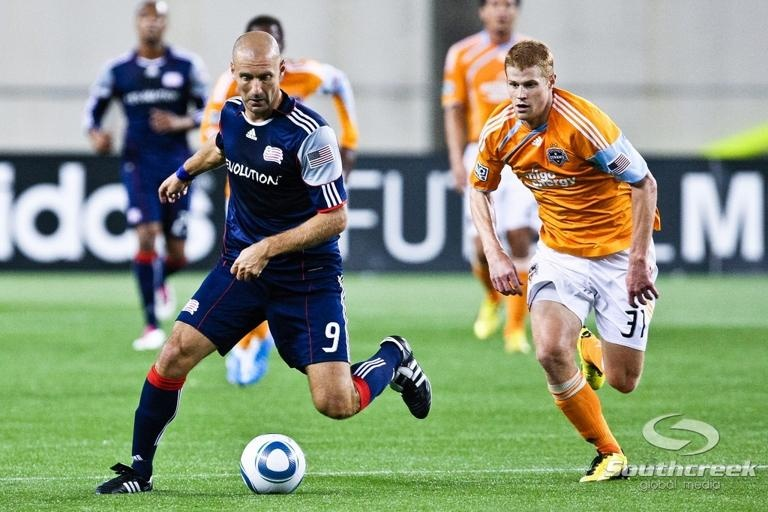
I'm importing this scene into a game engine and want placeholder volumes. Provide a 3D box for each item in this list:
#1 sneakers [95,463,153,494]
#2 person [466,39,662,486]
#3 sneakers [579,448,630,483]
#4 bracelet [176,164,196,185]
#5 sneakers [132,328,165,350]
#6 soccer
[{"bbox_3d":[-1.565,1.351,6.596,0.282,0.130,0.156,6,-3,-11],"label":"sneakers"},{"bbox_3d":[1.160,0.000,6.971,1.145,2.711,0.788,2,6,14],"label":"person"},{"bbox_3d":[1.373,1.318,6.817,0.380,0.174,0.132,-8,-3,-8],"label":"sneakers"},{"bbox_3d":[-1.298,-0.525,7.052,0.109,0.114,0.086,-15,-8,-34],"label":"bracelet"},{"bbox_3d":[-2.231,0.777,10.379,0.210,0.102,0.255,-23,5,15],"label":"sneakers"},{"bbox_3d":[-0.666,1.263,6.579,0.334,0.344,0.345,1,18,-11],"label":"soccer"}]
